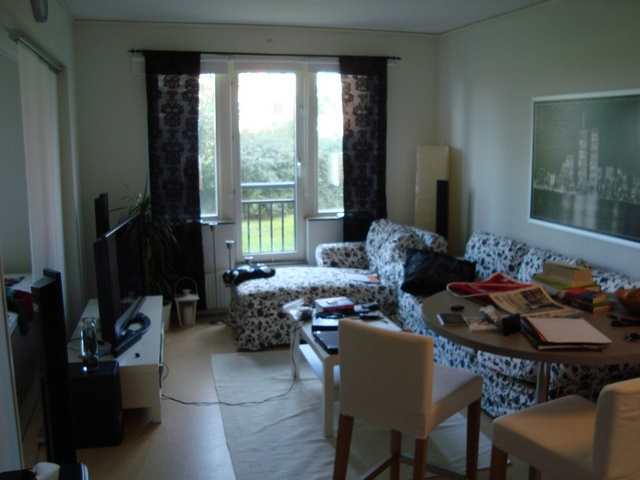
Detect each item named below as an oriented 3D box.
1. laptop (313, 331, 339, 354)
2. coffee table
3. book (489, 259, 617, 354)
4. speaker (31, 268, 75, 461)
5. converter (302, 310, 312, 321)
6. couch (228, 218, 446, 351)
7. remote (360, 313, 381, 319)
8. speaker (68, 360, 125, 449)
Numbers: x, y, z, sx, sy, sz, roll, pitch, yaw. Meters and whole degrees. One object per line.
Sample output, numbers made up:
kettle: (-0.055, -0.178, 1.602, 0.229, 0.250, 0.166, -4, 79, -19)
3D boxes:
laptop: (0.047, 0.712, 3.571, 0.140, 0.046, 0.220, 2, 9, -2)
coffee table: (0.217, 1.122, 3.864, 0.758, 0.624, 1.191, -4, 13, -17)
book: (1.271, 0.364, 2.650, 0.438, 0.114, 0.474, 4, 25, -19)
speaker: (-1.467, 0.711, 2.754, 0.135, 1.084, 0.130, 4, 10, 32)
converter: (-0.104, 0.594, 3.968, 0.067, 0.070, 0.023, 5, 3, -25)
couch: (0.001, 0.415, 5.288, 1.684, 0.963, 1.340, -1, 8, -12)
remote: (0.388, 0.589, 3.879, 0.077, 0.023, 0.061, -1, 6, -7)
speaker: (-1.544, 1.131, 3.439, 0.316, 0.547, 0.230, -4, 9, -19)
